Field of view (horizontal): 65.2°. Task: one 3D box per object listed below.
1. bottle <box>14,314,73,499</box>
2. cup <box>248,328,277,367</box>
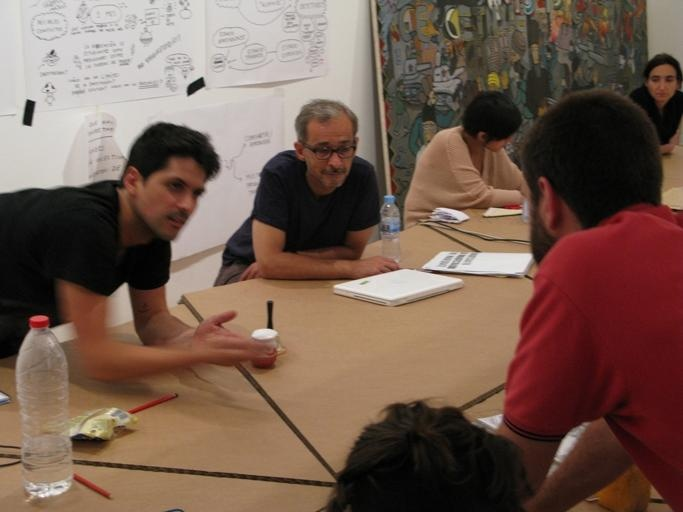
[{"bbox_3d":[-0.696,0.319,1.233,0.113,0.365,0.281,-5,8,-30],"label":"bottle"},{"bbox_3d":[-0.229,0.291,1.653,0.075,0.103,0.104,0,0,27],"label":"cup"}]
